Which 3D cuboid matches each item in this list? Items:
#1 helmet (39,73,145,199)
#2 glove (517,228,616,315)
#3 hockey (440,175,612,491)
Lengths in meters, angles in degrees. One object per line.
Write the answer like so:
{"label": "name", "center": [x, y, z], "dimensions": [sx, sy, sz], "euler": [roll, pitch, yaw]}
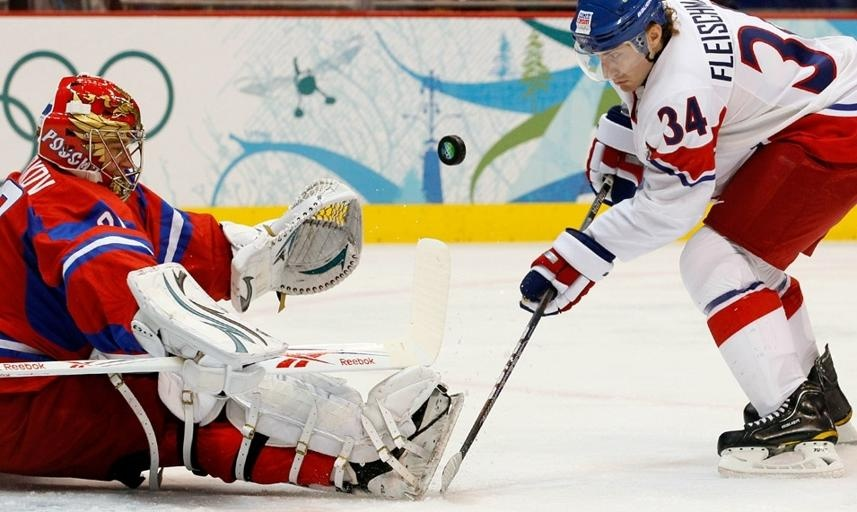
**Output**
{"label": "helmet", "center": [-1.279, -0.450, 4.407], "dimensions": [0.458, 0.391, 0.331], "euler": [8, 10, 9]}
{"label": "glove", "center": [0.529, 0.052, 4.551], "dimensions": [0.266, 0.418, 0.173], "euler": [55, 4, 28]}
{"label": "hockey", "center": [0.449, 0.377, 5.565], "dimensions": [0.081, 1.735, 0.223], "euler": [21, -23, 19]}
